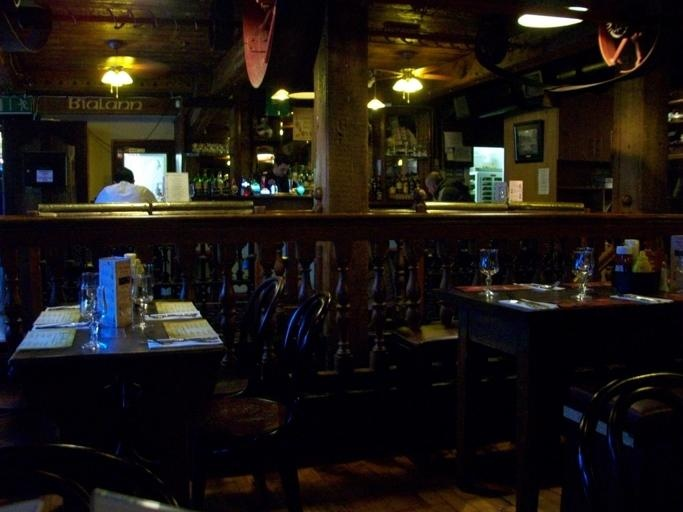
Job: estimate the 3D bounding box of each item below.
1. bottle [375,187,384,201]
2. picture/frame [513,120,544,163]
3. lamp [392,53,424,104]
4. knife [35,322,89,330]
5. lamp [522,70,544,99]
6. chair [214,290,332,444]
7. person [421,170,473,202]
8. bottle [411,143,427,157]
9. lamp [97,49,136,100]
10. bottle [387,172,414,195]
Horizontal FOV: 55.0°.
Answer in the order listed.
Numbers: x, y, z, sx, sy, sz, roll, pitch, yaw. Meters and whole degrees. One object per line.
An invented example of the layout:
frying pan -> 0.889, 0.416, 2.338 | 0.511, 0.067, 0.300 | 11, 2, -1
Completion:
bottle -> 0.515, -0.858, 9.171 | 0.163, 0.174, 0.412 | 2, 7, 9
picture/frame -> 2.373, -1.435, 8.320 | 0.070, 0.580, 0.520 | -1, 4, -20
lamp -> 0.758, -2.079, 7.595 | 0.463, 0.569, 0.500 | 0, -6, 4
knife -> -1.285, 0.320, 3.018 | 0.291, 0.044, 0.046 | -1, 1, 2
lamp -> 2.326, -2.075, 8.001 | 0.137, 0.310, 0.417 | 0, 7, -13
chair -> -0.370, 0.449, 3.061 | 0.475, 0.586, 0.763 | 7, 5, 29
person -> 1.209, -0.785, 7.574 | 0.455, 0.332, 0.745 | -1, 8, -16
bottle -> 1.147, -1.527, 9.721 | 0.194, 0.212, 0.195 | -1, 2, -27
lamp -> -2.534, -2.067, 7.450 | 0.342, 0.549, 0.362 | -4, 15, 16
bottle -> 0.858, -1.017, 9.481 | 0.392, 0.287, 0.298 | 2, 7, 6
